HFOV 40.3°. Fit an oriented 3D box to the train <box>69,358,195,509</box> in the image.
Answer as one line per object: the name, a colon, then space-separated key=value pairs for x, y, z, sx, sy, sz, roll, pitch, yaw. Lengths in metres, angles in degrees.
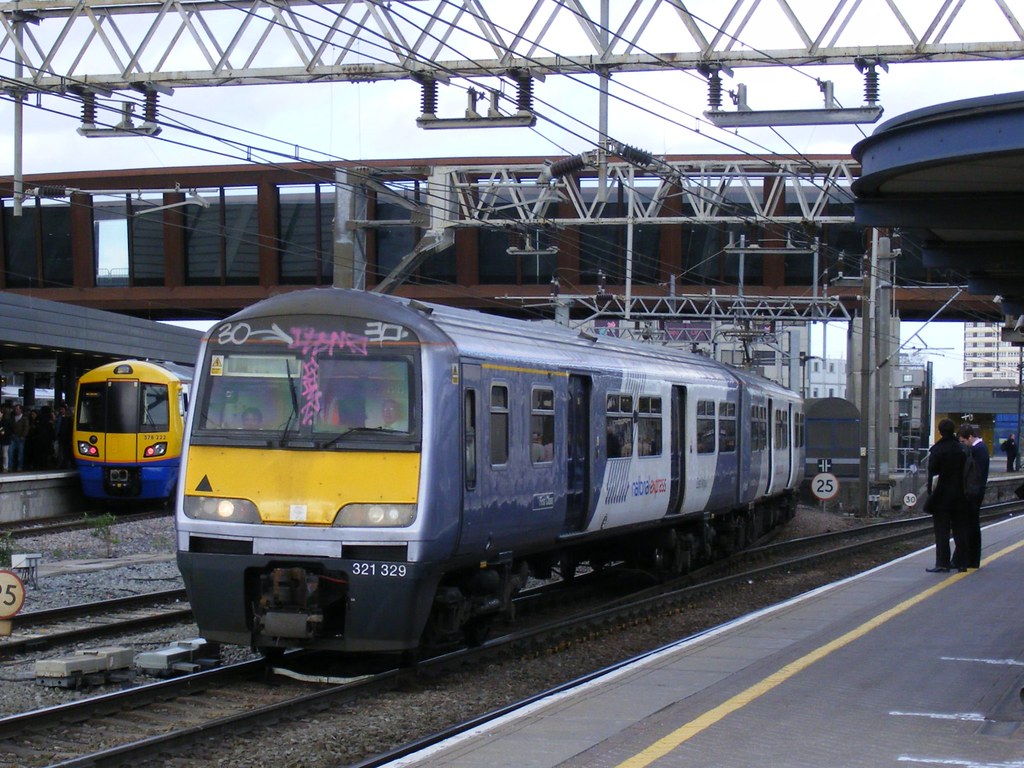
train: x=-7.981 y=1.067 z=28.913 sx=1.563 sy=1.713 sz=3.779 roll=-1 pitch=-1 yaw=6
